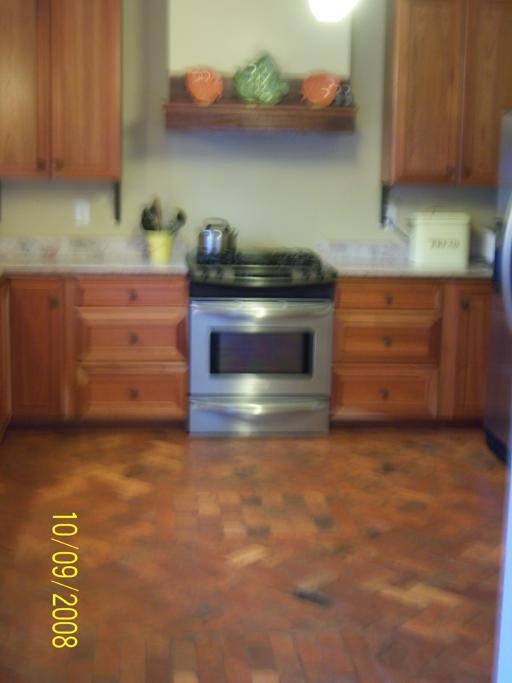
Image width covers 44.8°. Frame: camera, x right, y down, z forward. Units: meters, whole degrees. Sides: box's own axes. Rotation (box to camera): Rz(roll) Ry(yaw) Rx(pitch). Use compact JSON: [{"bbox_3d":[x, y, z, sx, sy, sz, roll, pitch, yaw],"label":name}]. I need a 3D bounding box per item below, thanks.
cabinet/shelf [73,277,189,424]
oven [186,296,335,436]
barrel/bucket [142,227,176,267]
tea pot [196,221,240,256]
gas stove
[{"bbox_3d":[-0.523,0.018,2.773,0.615,0.808,0.563,0,3,-5],"label":"cabinet/shelf"},{"bbox_3d":[-0.034,0.112,2.911,0.684,0.580,0.517,1,1,-16],"label":"oven"},{"bbox_3d":[-0.445,-0.436,2.856,0.183,0.198,0.192,1,9,0],"label":"barrel/bucket"},{"bbox_3d":[-0.195,-0.520,3.116,0.248,0.246,0.149,-1,16,-3],"label":"tea pot"},{"bbox_3d":[-0.005,-0.355,2.924,0.631,0.168,0.674,0,8,-6],"label":"gas stove"}]
